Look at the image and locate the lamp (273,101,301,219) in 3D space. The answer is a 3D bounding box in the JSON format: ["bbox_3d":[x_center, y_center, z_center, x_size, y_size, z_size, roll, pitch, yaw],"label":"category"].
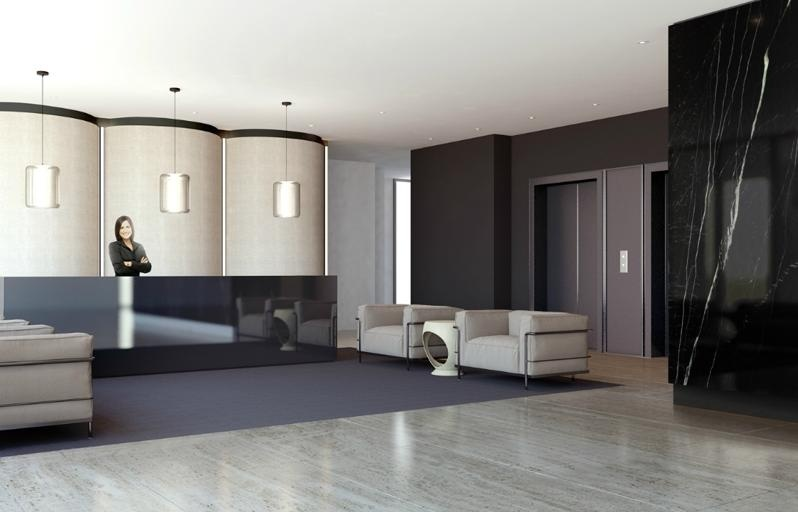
[{"bbox_3d":[-2.134,-1.723,11.166,0.460,1.947,1.894,0,1,-12],"label":"lamp"}]

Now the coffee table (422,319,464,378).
[{"bbox_3d":[0.453,1.383,8.721,0.727,0.771,0.717,3,-7,-33],"label":"coffee table"}]

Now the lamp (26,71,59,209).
[{"bbox_3d":[-5.750,-1.773,9.508,0.452,1.984,1.952,-1,1,-31],"label":"lamp"}]

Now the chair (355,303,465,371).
[{"bbox_3d":[0.153,1.273,9.814,1.214,0.911,1.536,2,-3,-35],"label":"chair"}]

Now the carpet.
[{"bbox_3d":[-0.987,1.750,7.919,7.075,0.088,3.386,0,1,-23],"label":"carpet"}]
